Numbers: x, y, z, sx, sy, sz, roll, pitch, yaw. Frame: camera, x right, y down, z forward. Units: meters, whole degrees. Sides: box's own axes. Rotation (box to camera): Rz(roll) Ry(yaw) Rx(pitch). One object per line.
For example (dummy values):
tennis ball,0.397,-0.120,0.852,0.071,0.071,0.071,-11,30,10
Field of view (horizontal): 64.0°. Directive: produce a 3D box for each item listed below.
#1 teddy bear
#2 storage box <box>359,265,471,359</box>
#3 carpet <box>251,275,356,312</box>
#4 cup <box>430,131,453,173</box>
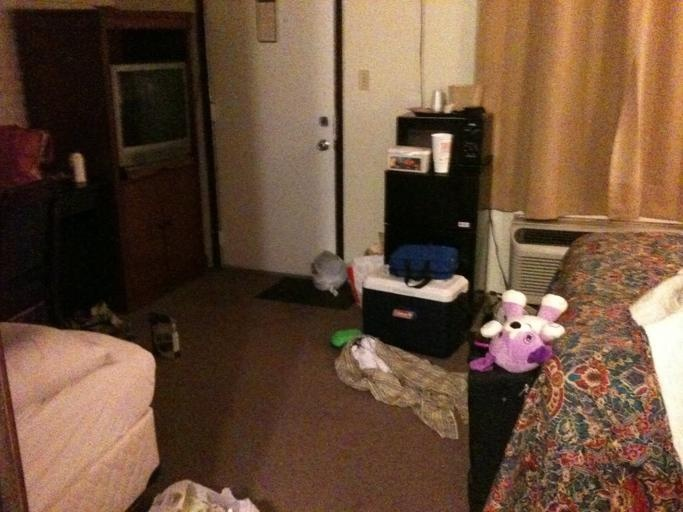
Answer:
teddy bear,0.665,0.277,1.995,0.281,0.187,0.463,11,28,34
storage box,0.466,0.264,3.180,0.603,0.415,0.434,6,22,39
carpet,-0.342,0.256,3.871,0.449,0.395,0.006,4,58,-22
cup,0.565,-0.580,3.095,0.140,0.210,0.133,0,15,0
